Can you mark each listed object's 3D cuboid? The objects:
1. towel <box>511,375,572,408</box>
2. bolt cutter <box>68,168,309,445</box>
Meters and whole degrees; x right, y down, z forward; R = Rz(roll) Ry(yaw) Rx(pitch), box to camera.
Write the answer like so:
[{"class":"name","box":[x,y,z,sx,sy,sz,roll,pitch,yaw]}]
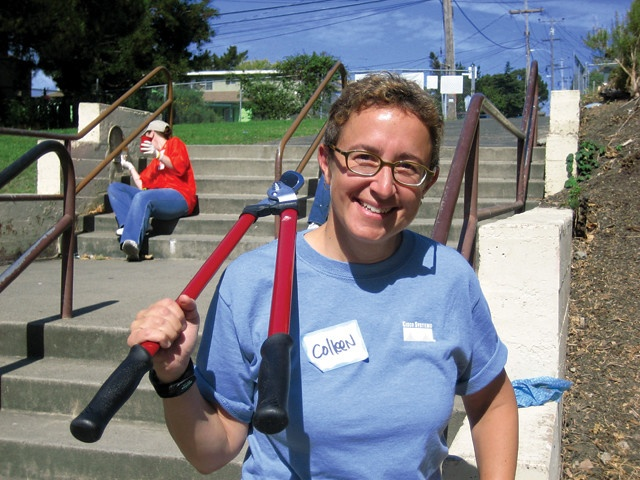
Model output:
[{"class":"towel","box":[1.540,1.050,5.831,0.409,0.303,0.134,3,-21,-2]},{"class":"bolt cutter","box":[-0.564,0.414,4.436,1.047,1.586,1.095,15,13,22]}]
